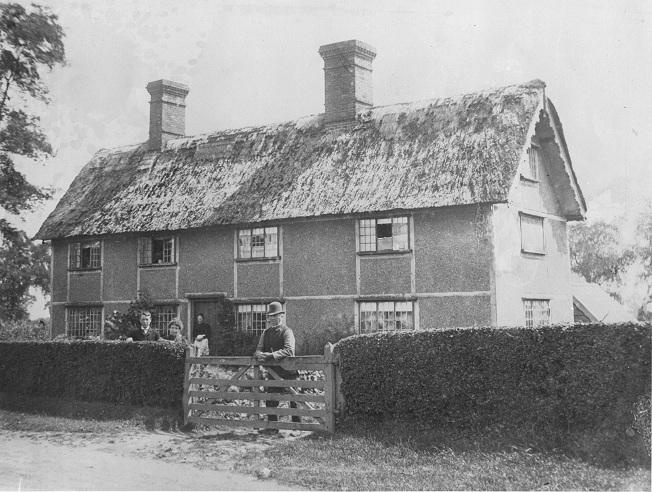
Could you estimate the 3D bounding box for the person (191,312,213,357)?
[{"bbox_3d":[-4.476,3.278,29.130,0.522,1.700,0.473,4,20,-3],"label":"person"}]
